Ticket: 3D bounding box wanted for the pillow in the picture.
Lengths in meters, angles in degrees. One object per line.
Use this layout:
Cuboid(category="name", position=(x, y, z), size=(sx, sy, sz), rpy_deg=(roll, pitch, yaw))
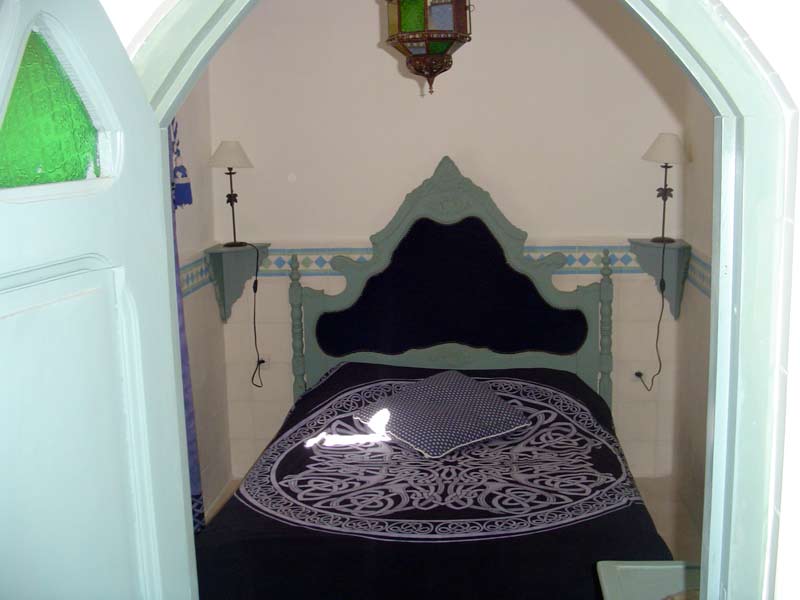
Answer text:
Cuboid(category="pillow", position=(0.234, 0.559, 3.675), size=(0.438, 0.118, 0.445), rpy_deg=(-16, 20, -30))
